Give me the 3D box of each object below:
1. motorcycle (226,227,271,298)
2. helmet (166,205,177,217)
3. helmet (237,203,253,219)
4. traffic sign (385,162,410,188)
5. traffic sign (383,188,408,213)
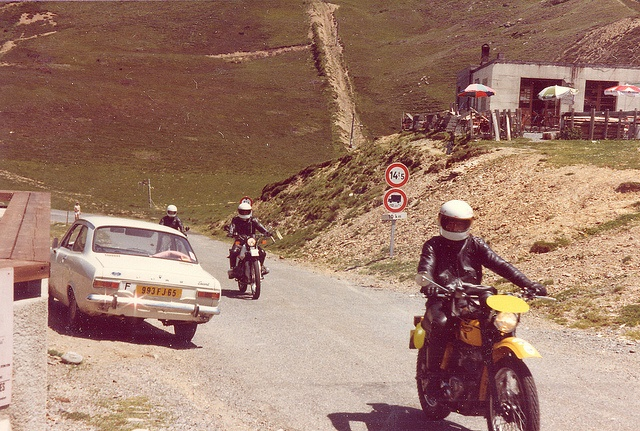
[{"bbox_3d":[-2.269,1.583,25.399,0.734,1.943,1.444,2,0,-32],"label":"motorcycle"},{"bbox_3d":[-4.946,-0.170,27.007,0.418,0.415,0.536,2,-1,-13],"label":"helmet"},{"bbox_3d":[-2.402,-0.150,25.891,0.391,0.508,0.473,1,0,-12],"label":"helmet"},{"bbox_3d":[2.947,-1.596,31.327,0.808,0.817,0.442,1,0,-1],"label":"traffic sign"},{"bbox_3d":[2.898,-0.605,31.410,0.792,0.891,0.416,1,0,6],"label":"traffic sign"}]
